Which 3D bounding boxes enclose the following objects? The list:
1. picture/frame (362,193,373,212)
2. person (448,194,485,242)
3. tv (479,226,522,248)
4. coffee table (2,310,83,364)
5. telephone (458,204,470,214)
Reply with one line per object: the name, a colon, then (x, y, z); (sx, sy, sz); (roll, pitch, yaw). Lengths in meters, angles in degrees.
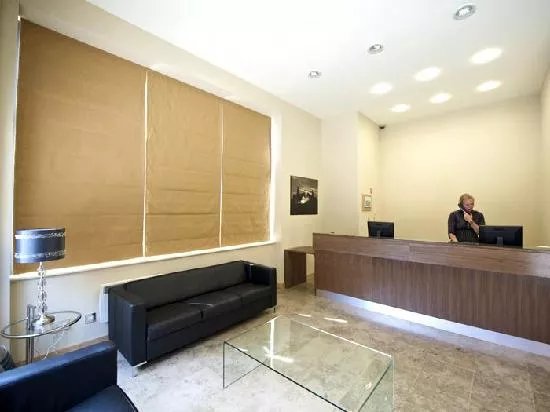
picture/frame: (2.042, -0.092, 7.934); (0.042, 0.295, 0.402); (-2, -3, 36)
person: (3.275, 0.206, 6.104); (0.531, 0.821, 0.497); (6, 16, 25)
tv: (3.189, 0.413, 5.025); (0.530, 0.301, 0.300); (7, 17, 26)
coffee table: (-2.812, 1.439, 4.225); (0.716, 0.531, 0.738); (2, 2, -2)
telephone: (3.268, 0.043, 6.135); (0.178, 0.177, 0.164); (8, 17, 28)
